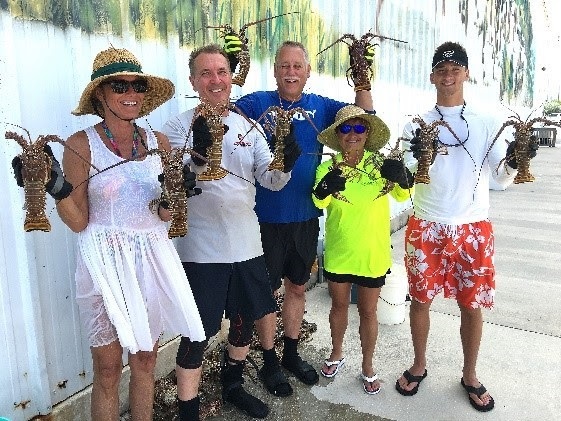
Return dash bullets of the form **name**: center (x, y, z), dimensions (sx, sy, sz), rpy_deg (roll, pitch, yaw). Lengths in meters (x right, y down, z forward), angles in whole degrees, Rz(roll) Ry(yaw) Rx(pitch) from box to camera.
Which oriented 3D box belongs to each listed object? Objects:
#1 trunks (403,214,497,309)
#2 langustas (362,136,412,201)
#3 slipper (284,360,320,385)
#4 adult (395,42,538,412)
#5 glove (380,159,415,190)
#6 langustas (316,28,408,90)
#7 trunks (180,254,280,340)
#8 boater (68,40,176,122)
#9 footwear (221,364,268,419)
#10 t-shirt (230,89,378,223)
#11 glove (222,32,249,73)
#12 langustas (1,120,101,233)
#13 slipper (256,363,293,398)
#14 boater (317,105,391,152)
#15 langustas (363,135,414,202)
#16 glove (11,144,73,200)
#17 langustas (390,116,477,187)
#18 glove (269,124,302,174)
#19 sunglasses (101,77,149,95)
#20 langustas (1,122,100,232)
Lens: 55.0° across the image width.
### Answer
- **trunks**: center (1.643, 0.487, 5.290), dimensions (0.900, 0.837, 0.521), rpy_deg (2, 7, 14)
- **langustas**: center (1.009, -0.402, 5.033), dimensions (0.317, 0.573, 0.177), rpy_deg (15, 19, 32)
- **slipper**: center (0.217, 1.585, 5.431), dimensions (0.147, 0.096, 0.349), rpy_deg (-14, 22, -35)
- **adult**: center (1.617, 0.257, 5.034), dimensions (1.290, 3.392, 1.055), rpy_deg (5, 15, 21)
- **glove**: center (1.026, -0.314, 4.848), dimensions (0.221, 0.301, 0.110), rpy_deg (-44, 10, -12)
- **langustas**: center (0.816, -1.616, 5.365), dimensions (0.741, 0.244, 0.527), rpy_deg (-10, 4, 2)
- **trunks**: center (-0.469, 0.715, 4.670), dimensions (0.771, 0.526, 0.311), rpy_deg (-12, 0, -25)
- **boater**: center (-1.233, -1.023, 4.173), dimensions (0.678, 0.421, 0.687), rpy_deg (-13, -9, -5)
- **footwear**: center (-0.363, 1.726, 5.130), dimensions (0.514, 0.476, 0.270), rpy_deg (15, 19, 19)
- **t-shirt**: center (0.120, -0.459, 5.183), dimensions (1.345, 1.303, 0.350), rpy_deg (-1, -4, -15)
- **glove**: center (-0.462, -1.517, 5.141), dimensions (0.125, 0.387, 0.287), rpy_deg (6, 14, 4)
- **langustas**: center (-1.712, -0.236, 3.970), dimensions (1.001, 0.702, 0.381), rpy_deg (-1, 3, -13)
- **slipper**: center (-0.049, 1.639, 5.279), dimensions (0.191, 0.118, 0.361), rpy_deg (-5, 14, -31)
- **boater**: center (0.687, -0.729, 5.033), dimensions (0.523, 0.216, 0.526), rpy_deg (-20, -37, 19)
- **langustas**: center (0.976, -0.414, 4.937), dimensions (0.348, 0.624, 0.197), rpy_deg (0, 19, 11)
- **glove**: center (-1.772, -0.290, 3.914), dimensions (0.444, 0.183, 0.602), rpy_deg (10, -10, -14)
- **langustas**: center (1.307, -0.554, 4.867), dimensions (0.774, 0.305, 0.733), rpy_deg (-4, -31, 11)
- **glove**: center (0.031, -0.509, 4.458), dimensions (0.254, 0.409, 0.208), rpy_deg (0, 15, 4)
- **sunglasses**: center (-1.225, -0.945, 4.129), dimensions (0.348, 0.116, 0.110), rpy_deg (-7, 16, -22)
- **langustas**: center (-1.726, -0.237, 3.957), dimensions (0.989, 0.696, 0.352), rpy_deg (-1, 3, -13)
